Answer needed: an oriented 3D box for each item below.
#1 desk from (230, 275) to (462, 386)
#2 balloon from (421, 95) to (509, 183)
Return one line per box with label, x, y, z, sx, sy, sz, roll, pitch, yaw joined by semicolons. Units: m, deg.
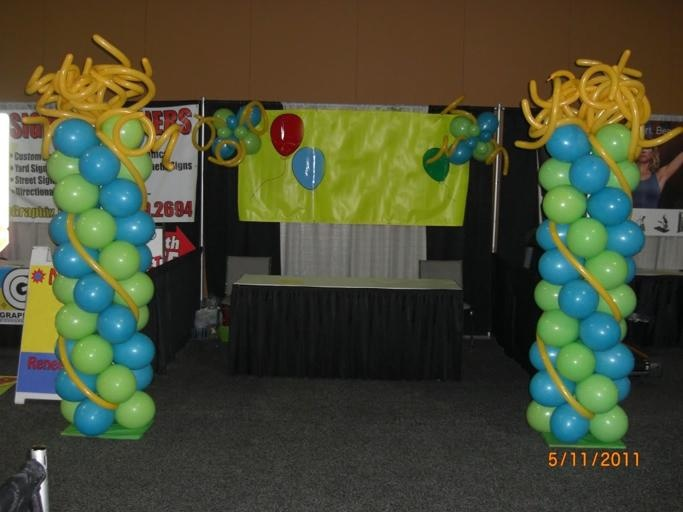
desk;-0.039;0.685;6.103;2.276;1.255;0.922;3;21;16
balloon;1.352;-1.363;6.271;0.904;0.392;1.020;-20;-13;16
